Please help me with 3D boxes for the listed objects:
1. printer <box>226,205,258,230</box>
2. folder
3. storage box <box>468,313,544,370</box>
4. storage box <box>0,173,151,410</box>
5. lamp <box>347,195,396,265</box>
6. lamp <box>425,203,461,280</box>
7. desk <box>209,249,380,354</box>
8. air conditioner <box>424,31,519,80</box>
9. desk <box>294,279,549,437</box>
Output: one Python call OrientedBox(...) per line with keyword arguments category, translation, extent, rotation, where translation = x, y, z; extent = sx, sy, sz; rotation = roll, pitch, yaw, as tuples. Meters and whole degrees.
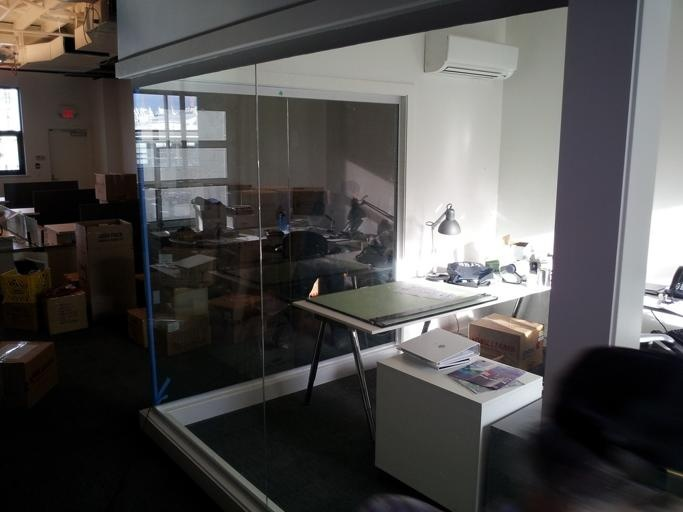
OrientedBox(category="printer", translation=(-0.461, -0.184, 2.512), extent=(0.125, 0.101, 0.131), rotation=(7, 9, 25))
OrientedBox(category="folder", translation=(0.480, 0.454, 2.632), extent=(0.221, 0.053, 0.220), rotation=(-16, 18, -35))
OrientedBox(category="storage box", translation=(1.181, 0.630, 3.876), extent=(0.335, 0.287, 0.449), rotation=(-13, 16, -34))
OrientedBox(category="storage box", translation=(-2.082, 0.225, 4.459), extent=(1.629, 1.025, 1.644), rotation=(-6, 17, -36))
OrientedBox(category="lamp", translation=(0.216, -0.166, 3.832), extent=(0.145, 0.527, 0.530), rotation=(7, 14, 30))
OrientedBox(category="lamp", translation=(0.772, -0.128, 4.088), extent=(0.254, 0.536, 0.563), rotation=(2, 12, 9))
OrientedBox(category="desk", translation=(-0.248, 0.146, 3.106), extent=(0.889, 0.440, 0.476), rotation=(-19, 34, -40))
OrientedBox(category="air conditioner", translation=(0.982, -1.468, 3.961), extent=(0.777, 0.278, 0.228), rotation=(-8, 25, -34))
OrientedBox(category="desk", translation=(0.432, 0.549, 3.477), extent=(0.555, 0.596, 1.557), rotation=(14, 12, 39))
